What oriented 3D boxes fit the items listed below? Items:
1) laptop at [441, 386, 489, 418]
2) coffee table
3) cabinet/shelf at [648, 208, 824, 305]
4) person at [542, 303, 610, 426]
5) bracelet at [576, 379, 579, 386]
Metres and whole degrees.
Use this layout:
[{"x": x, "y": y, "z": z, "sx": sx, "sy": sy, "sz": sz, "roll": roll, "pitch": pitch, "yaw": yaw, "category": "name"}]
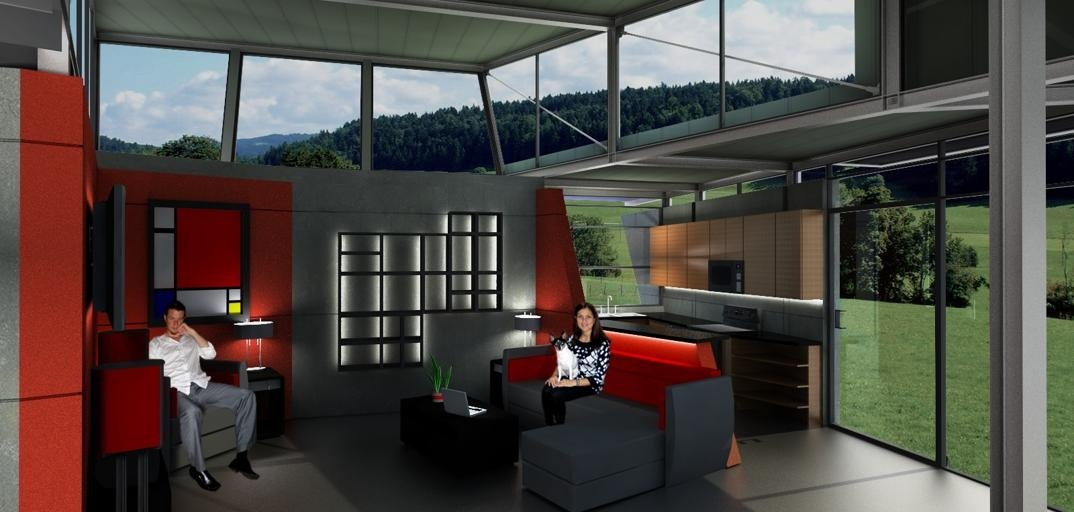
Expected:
[{"x": -1.273, "y": 2.544, "z": 11.697, "sx": 0.691, "sy": 0.438, "sz": 0.426, "roll": 3, "pitch": 5, "yaw": 38, "category": "laptop"}, {"x": -1.569, "y": 3.132, "z": 11.696, "sx": 3.089, "sy": 1.072, "sz": 1.656, "roll": -1, "pitch": -2, "yaw": 44, "category": "coffee table"}, {"x": 4.251, "y": -0.009, "z": 14.580, "sx": 0.593, "sy": 1.775, "sz": 3.878, "roll": -9, "pitch": 6, "yaw": -40, "category": "cabinet/shelf"}, {"x": 0.771, "y": 2.014, "z": 12.611, "sx": 1.173, "sy": 2.289, "sz": 0.995, "roll": -1, "pitch": -1, "yaw": 9, "category": "person"}, {"x": 0.730, "y": 2.307, "z": 12.201, "sx": 0.039, "sy": 0.103, "sz": 0.115, "roll": 2, "pitch": -7, "yaw": -4, "category": "bracelet"}]
